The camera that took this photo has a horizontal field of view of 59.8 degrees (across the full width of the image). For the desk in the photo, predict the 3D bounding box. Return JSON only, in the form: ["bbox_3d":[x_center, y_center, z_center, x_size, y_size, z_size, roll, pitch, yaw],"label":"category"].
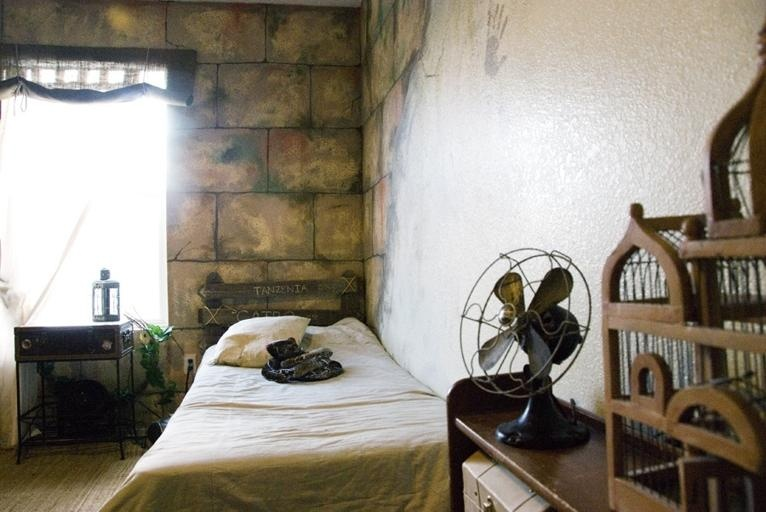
[{"bbox_3d":[-2.318,0.993,5.019,0.775,0.937,0.630,-1,-4,-8],"label":"desk"}]

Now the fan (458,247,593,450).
[{"bbox_3d":[0.553,0.363,2.640,0.507,0.728,0.532,2,-4,8],"label":"fan"}]
